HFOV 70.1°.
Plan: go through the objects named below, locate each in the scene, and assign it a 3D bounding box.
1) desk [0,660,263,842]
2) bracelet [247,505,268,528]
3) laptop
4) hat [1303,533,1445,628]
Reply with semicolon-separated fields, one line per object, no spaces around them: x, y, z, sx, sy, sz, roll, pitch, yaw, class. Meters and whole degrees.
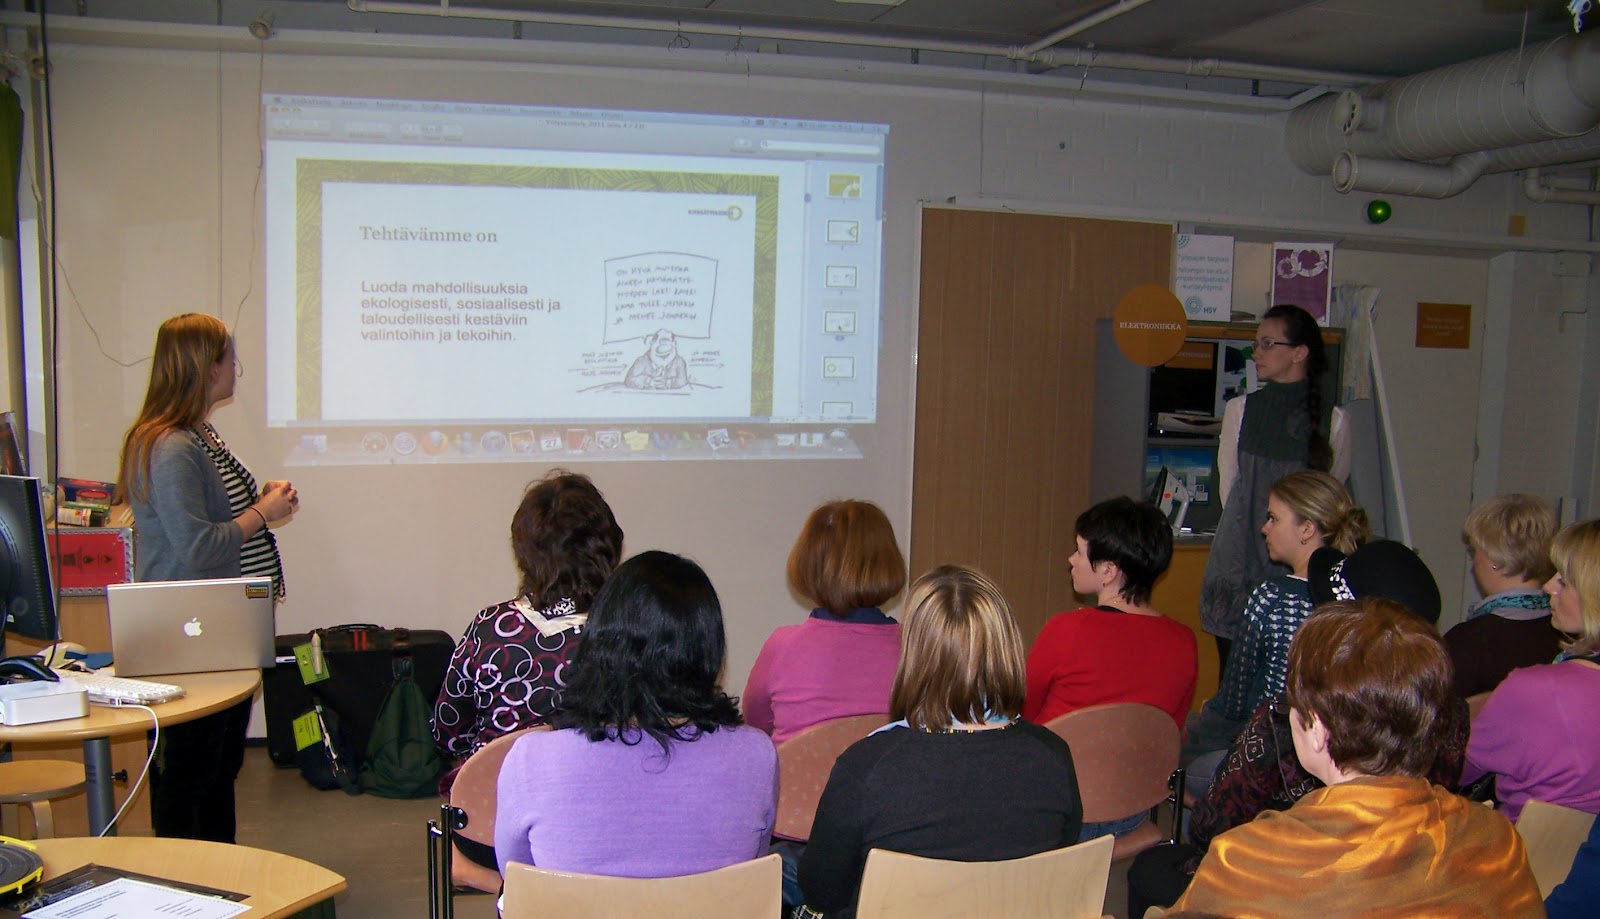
-2.440;1.028;4.340;0.726;0.470;0.694;-1;0;-7;desk
-2.365;0.245;4.980;0.028;0.092;0.075;-36;18;-33;bracelet
-2.367;0.647;4.441;0.590;0.377;0.396;0;6;-15;laptop
2.144;0.442;4.278;0.435;0.274;0.269;0;4;22;hat
